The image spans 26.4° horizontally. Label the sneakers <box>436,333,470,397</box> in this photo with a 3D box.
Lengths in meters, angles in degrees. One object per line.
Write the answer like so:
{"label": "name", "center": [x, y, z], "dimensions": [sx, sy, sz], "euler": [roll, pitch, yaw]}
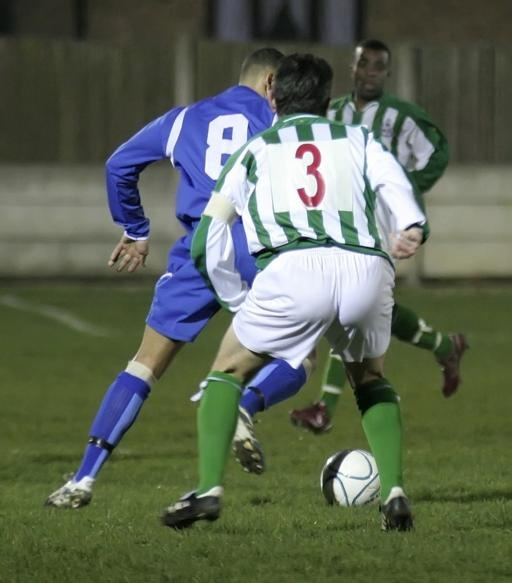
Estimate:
{"label": "sneakers", "center": [0.922, 0.344, 5.163], "dimensions": [0.143, 0.353, 0.118], "euler": [19, 43, 32]}

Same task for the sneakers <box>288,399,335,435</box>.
{"label": "sneakers", "center": [0.272, 0.580, 4.973], "dimensions": [0.153, 0.068, 0.159], "euler": [11, 10, 36]}

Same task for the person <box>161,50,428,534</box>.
{"label": "person", "center": [0.131, 0.004, 3.645], "dimensions": [0.819, 1.565, 0.495], "euler": [2, 10, -4]}

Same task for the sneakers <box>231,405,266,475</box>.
{"label": "sneakers", "center": [-0.015, 0.542, 3.806], "dimensions": [0.084, 0.267, 0.142], "euler": [-20, 39, 10]}

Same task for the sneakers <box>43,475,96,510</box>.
{"label": "sneakers", "center": [-0.689, 0.739, 4.007], "dimensions": [0.167, 0.121, 0.082], "euler": [7, 11, 17]}

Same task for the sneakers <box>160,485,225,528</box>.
{"label": "sneakers", "center": [-0.201, 0.726, 3.598], "dimensions": [0.235, 0.090, 0.120], "euler": [-30, 34, 29]}
